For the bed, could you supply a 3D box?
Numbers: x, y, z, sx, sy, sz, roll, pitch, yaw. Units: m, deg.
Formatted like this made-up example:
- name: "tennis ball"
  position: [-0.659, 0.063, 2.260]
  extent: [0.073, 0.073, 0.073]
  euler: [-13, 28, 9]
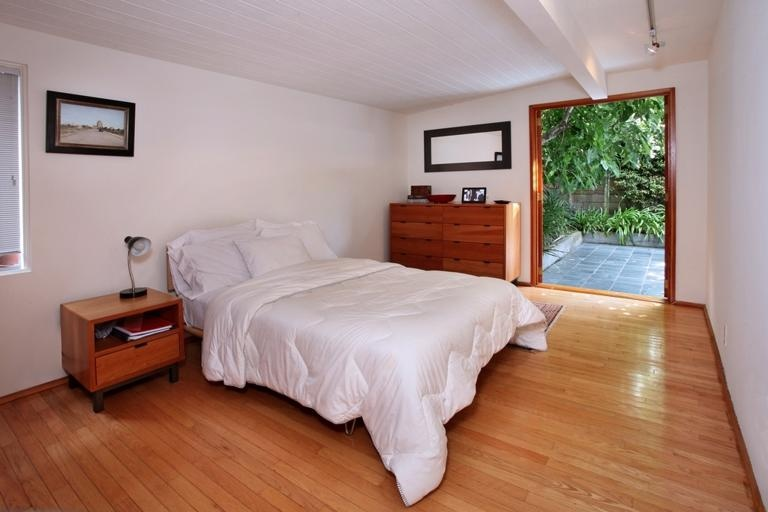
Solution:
- name: "bed"
  position: [-0.371, 0.532, 4.670]
  extent: [3.155, 1.613, 2.454]
  euler: [7, 13, 36]

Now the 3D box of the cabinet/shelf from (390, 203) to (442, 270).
- name: "cabinet/shelf"
  position: [0.498, -0.293, 6.934]
  extent: [0.982, 0.923, 0.342]
  euler: [2, 3, 37]

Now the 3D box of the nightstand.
- name: "nightstand"
  position: [-2.246, 0.713, 4.390]
  extent: [0.971, 0.924, 0.960]
  euler: [3, 5, 37]

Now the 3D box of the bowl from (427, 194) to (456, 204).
- name: "bowl"
  position: [0.839, -0.840, 7.024]
  extent: [0.396, 0.118, 0.400]
  euler: [-1, 10, 0]

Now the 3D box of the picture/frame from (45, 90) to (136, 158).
- name: "picture/frame"
  position: [-2.647, -1.185, 4.293]
  extent: [0.720, 0.585, 0.053]
  euler: [0, 2, -43]
